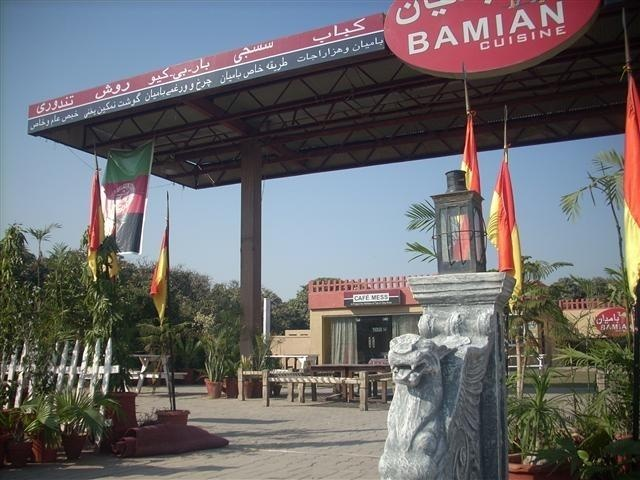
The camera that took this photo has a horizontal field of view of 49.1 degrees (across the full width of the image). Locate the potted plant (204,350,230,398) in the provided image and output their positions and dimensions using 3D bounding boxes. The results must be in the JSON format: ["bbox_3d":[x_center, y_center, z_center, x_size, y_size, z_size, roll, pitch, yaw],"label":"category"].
[{"bbox_3d":[-2.942,3.593,18.920,0.574,1.439,0.598,2,-13,11],"label":"potted plant"}]
